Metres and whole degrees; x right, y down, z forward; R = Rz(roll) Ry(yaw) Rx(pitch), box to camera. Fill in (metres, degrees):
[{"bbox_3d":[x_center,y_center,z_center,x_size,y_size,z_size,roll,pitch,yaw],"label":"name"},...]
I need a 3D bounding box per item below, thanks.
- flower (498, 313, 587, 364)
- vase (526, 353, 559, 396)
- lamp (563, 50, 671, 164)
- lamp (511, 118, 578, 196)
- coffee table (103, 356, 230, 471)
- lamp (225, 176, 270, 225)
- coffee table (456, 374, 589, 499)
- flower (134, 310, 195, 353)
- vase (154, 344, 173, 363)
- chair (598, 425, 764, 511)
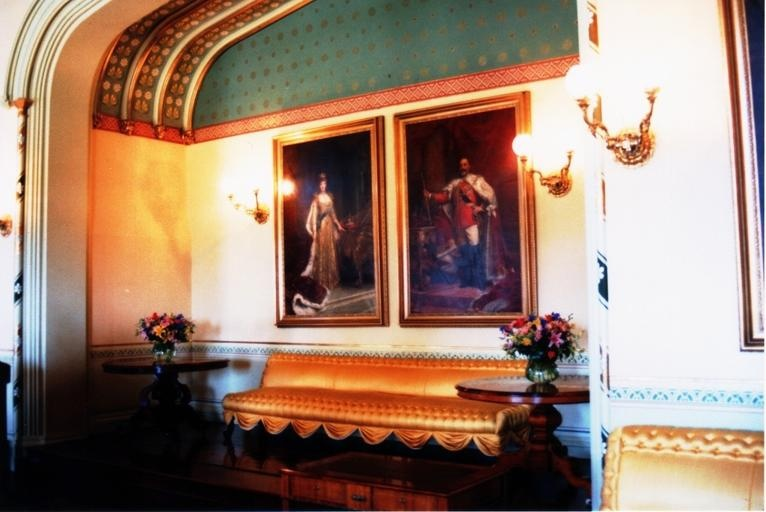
[{"bbox_3d":[1.569,0.797,6.515,0.727,0.501,0.672,-4,6,-16],"label":"flower"},{"bbox_3d":[1.523,1.107,6.202,0.298,0.334,0.311,1,-11,-9],"label":"vase"},{"bbox_3d":[1.787,-1.042,4.855,0.677,0.759,0.478,-6,-7,44],"label":"lamp"},{"bbox_3d":[1.856,-1.012,7.316,0.666,0.749,0.384,-11,-1,26],"label":"lamp"},{"bbox_3d":[-2.833,1.932,8.321,1.182,0.859,1.180,-2,-5,23],"label":"coffee table"},{"bbox_3d":[-1.978,-0.719,9.289,0.740,0.366,0.327,-1,0,38],"label":"lamp"},{"bbox_3d":[1.538,1.688,6.465,1.510,0.945,1.516,2,-2,13],"label":"coffee table"},{"bbox_3d":[-2.968,1.033,8.975,0.693,0.627,0.662,-3,-1,21],"label":"flower"},{"bbox_3d":[-2.931,1.271,8.673,0.240,0.174,0.217,2,-2,-4],"label":"vase"},{"bbox_3d":[1.974,1.377,4.267,0.866,0.581,0.379,0,-27,18],"label":"chair"}]
